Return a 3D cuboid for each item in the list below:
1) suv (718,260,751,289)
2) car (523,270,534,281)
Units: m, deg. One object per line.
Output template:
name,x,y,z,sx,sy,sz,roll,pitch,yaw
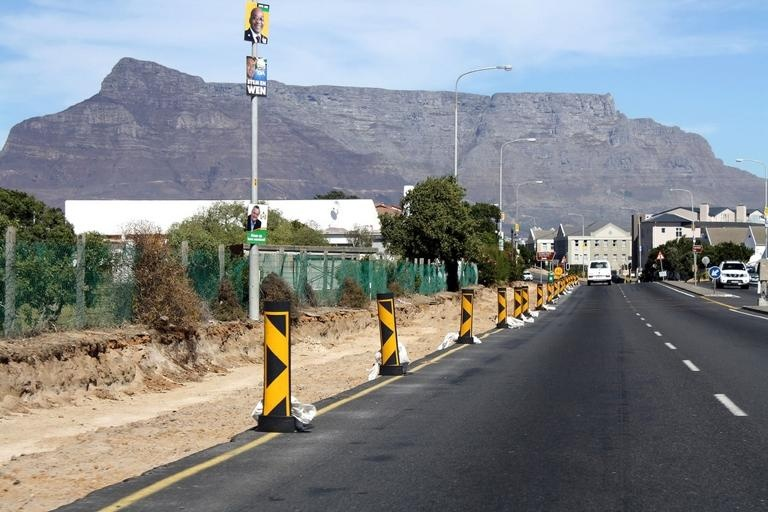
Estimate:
suv,28.364,1.445,74.235,2.237,1.967,3.134,-4,1,16
car,17.992,2.352,114.440,1.468,1.291,2.799,0,-3,2
